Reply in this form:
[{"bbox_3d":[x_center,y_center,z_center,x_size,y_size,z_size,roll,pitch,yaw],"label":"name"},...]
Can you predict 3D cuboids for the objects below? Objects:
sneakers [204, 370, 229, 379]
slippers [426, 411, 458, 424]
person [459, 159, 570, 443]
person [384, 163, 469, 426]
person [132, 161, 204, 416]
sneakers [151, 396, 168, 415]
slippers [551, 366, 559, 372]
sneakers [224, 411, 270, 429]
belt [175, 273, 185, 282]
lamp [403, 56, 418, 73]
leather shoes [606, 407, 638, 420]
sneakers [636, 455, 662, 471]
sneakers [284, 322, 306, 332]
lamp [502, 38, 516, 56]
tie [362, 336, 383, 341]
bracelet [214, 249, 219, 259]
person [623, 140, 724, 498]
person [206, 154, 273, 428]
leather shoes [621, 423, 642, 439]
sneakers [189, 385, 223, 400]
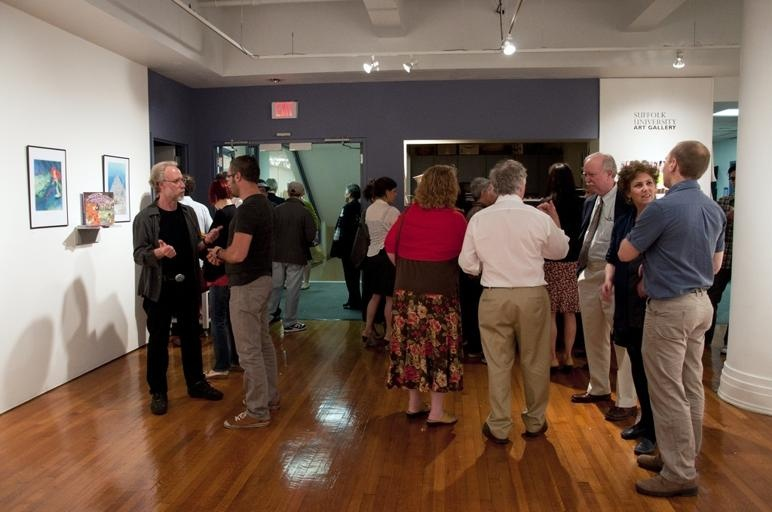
[{"bbox_3d":[-1.960,1.361,6.700,0.254,0.111,0.095,4,-5,0],"label":"sneakers"},{"bbox_3d":[0.533,1.576,5.651,0.245,0.098,0.129,0,3,-15],"label":"slippers"},{"bbox_3d":[1.227,0.410,5.437,0.972,2.519,0.733,-1,5,8],"label":"person"},{"bbox_3d":[0.376,0.238,5.447,0.744,2.084,0.554,0,14,1],"label":"person"},{"bbox_3d":[-2.194,0.310,5.909,0.665,2.463,0.738,-5,15,-19],"label":"person"},{"bbox_3d":[-2.298,1.507,5.846,0.157,0.143,0.178,-5,15,-17],"label":"sneakers"},{"bbox_3d":[1.991,1.344,6.848,0.151,0.046,0.154,1,1,16],"label":"slippers"},{"bbox_3d":[-1.340,1.595,5.658,0.471,0.218,0.170,3,-3,-1],"label":"sneakers"},{"bbox_3d":[-2.098,0.221,5.890,0.105,0.086,0.066,-8,16,-26],"label":"belt"},{"bbox_3d":[0.330,-2.721,8.214,0.249,0.103,0.255,-2,10,19],"label":"lamp"},{"bbox_3d":[2.321,1.542,5.689,0.280,0.122,0.131,1,0,-2],"label":"leather shoes"},{"bbox_3d":[2.244,1.761,4.923,0.212,0.149,0.079,4,8,26],"label":"sneakers"},{"bbox_3d":[-1.356,1.042,8.539,0.351,0.163,0.119,-6,9,-16],"label":"sneakers"},{"bbox_3d":[1.546,-2.638,7.261,0.120,0.164,0.368,4,15,16],"label":"lamp"},{"bbox_3d":[-0.178,1.117,7.859,0.252,0.080,0.099,-1,-4,-8],"label":"tie"},{"bbox_3d":[-1.590,-0.026,5.459,0.018,0.070,0.073,5,6,-29],"label":"bracelet"},{"bbox_3d":[2.268,0.492,4.647,0.666,2.743,0.828,6,15,25],"label":"person"},{"bbox_3d":[-1.335,0.349,5.576,0.503,2.546,0.701,-1,14,-2],"label":"person"},{"bbox_3d":[2.265,1.627,5.348,0.239,0.101,0.086,-2,5,-22],"label":"leather shoes"},{"bbox_3d":[-1.923,1.452,6.142,0.400,0.175,0.145,1,14,5],"label":"sneakers"}]
